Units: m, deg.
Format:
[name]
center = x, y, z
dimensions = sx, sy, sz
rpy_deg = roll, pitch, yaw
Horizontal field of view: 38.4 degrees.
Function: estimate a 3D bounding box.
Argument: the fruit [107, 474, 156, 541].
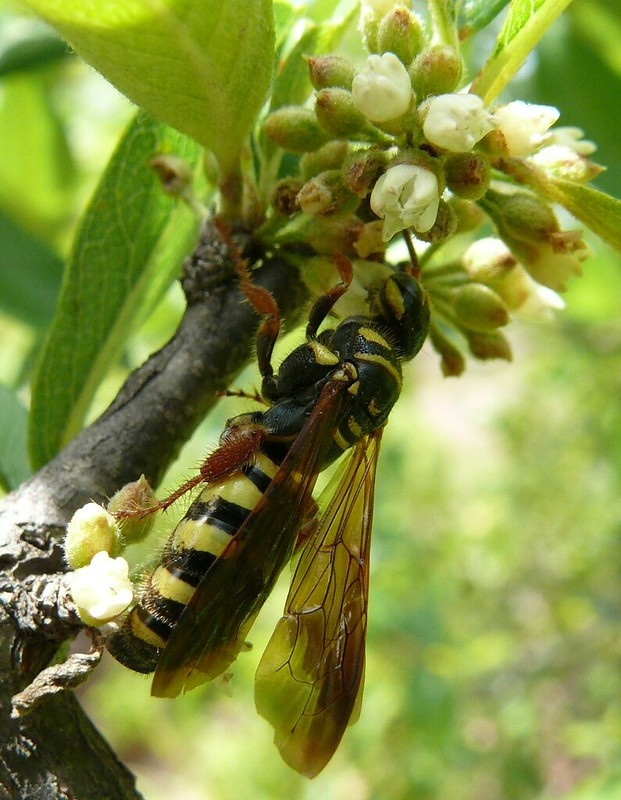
[fruit]
center = -0.180, 0.112, 0.917
dimensions = 0.057, 0.069, 0.025
rpy_deg = 18, 5, -8
